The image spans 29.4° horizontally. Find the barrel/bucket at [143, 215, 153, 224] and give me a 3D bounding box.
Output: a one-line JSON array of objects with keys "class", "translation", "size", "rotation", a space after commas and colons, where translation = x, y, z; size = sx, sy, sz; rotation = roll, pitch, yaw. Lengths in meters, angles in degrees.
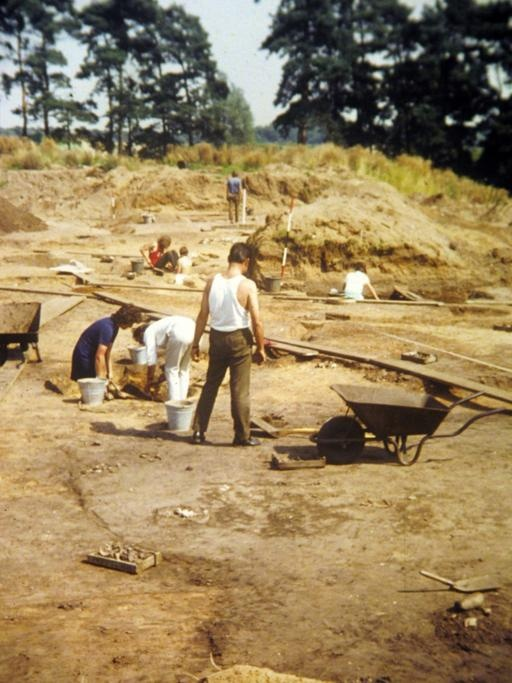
[{"class": "barrel/bucket", "translation": [-3.227, -3.615, 28.812], "size": [0.275, 0.242, 0.265], "rotation": [3, -1, 0]}]

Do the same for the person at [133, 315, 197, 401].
[{"class": "person", "translation": [-0.898, 0.130, 9.385], "size": [0.563, 0.845, 1.253], "rotation": [0, 14, -7]}]

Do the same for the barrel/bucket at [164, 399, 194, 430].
[{"class": "barrel/bucket", "translation": [-0.730, 0.704, 9.220], "size": [0.267, 0.295, 0.220], "rotation": [-1, 14, -10]}]

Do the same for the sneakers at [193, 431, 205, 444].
[{"class": "sneakers", "translation": [-0.528, 0.877, 8.910], "size": [0.118, 0.104, 0.082], "rotation": [14, -15, -39]}]

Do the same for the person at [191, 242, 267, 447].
[{"class": "person", "translation": [-0.253, 0.050, 8.556], "size": [0.621, 1.854, 0.315], "rotation": [5, 15, 10]}]

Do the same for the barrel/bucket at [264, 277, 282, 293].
[{"class": "barrel/bucket", "translation": [0.287, -1.032, 17.578], "size": [0.301, 0.200, 0.286], "rotation": [0, 1, 0]}]

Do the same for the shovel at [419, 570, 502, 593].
[{"class": "shovel", "translation": [1.305, 1.475, 6.028], "size": [0.257, 0.056, 0.167], "rotation": [-14, -8, -18]}]

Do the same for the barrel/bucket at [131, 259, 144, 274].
[{"class": "barrel/bucket", "translation": [-2.116, -1.361, 17.438], "size": [0.269, 0.192, 0.262], "rotation": [1, 3, 0]}]

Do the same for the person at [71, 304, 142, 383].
[{"class": "person", "translation": [-1.534, 0.033, 9.861], "size": [0.522, 0.954, 0.945], "rotation": [-5, 16, -25]}]

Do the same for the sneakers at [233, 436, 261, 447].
[{"class": "sneakers", "translation": [-0.089, 0.900, 8.873], "size": [0.253, 0.091, 0.087], "rotation": [0, 3, -14]}]

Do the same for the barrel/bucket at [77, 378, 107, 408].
[{"class": "barrel/bucket", "translation": [-1.656, 0.501, 9.873], "size": [0.300, 0.235, 0.301], "rotation": [0, -3, 0]}]

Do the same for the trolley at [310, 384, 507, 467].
[{"class": "trolley", "translation": [1.252, 0.695, 8.203], "size": [1.561, 0.556, 0.718], "rotation": [1, 0, -4]}]

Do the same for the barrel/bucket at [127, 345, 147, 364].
[{"class": "barrel/bucket", "translation": [-1.391, 0.152, 11.395], "size": [0.230, 0.197, 0.274], "rotation": [-1, -3, -3]}]
